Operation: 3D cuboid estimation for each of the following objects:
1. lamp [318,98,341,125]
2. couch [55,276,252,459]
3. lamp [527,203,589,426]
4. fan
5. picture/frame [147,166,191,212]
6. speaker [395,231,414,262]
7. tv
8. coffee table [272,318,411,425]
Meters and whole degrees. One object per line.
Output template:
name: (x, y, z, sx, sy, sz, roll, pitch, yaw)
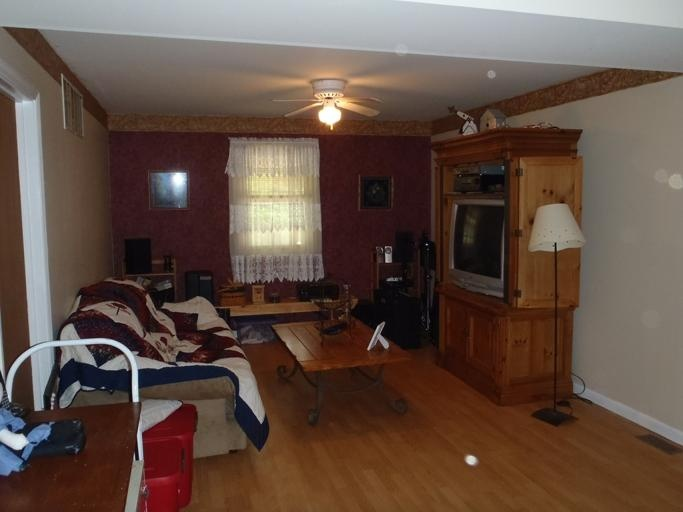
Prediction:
lamp: (-0.110, -1.286, 4.934, 0.163, 0.216, 0.275, -2, 11, -4)
couch: (-1.377, 0.314, 4.109, 1.118, 0.792, 1.999, -1, 7, -20)
lamp: (1.755, 0.441, 4.589, 0.416, 1.745, 0.734, 3, 11, 19)
fan: (-0.042, -1.479, 5.234, 0.677, 0.289, 1.226, -1, 11, -2)
picture/frame: (-2.062, -0.801, 6.517, 0.525, 0.543, 0.039, -1, 3, -18)
speaker: (0.805, -0.110, 7.128, 0.248, 0.398, 0.241, -1, 11, 3)
tv: (1.297, -0.072, 5.226, 0.476, 0.943, 0.931, -1, 4, -17)
coffee table: (-0.008, 0.803, 4.693, 0.757, 0.452, 1.263, 0, 6, -16)
